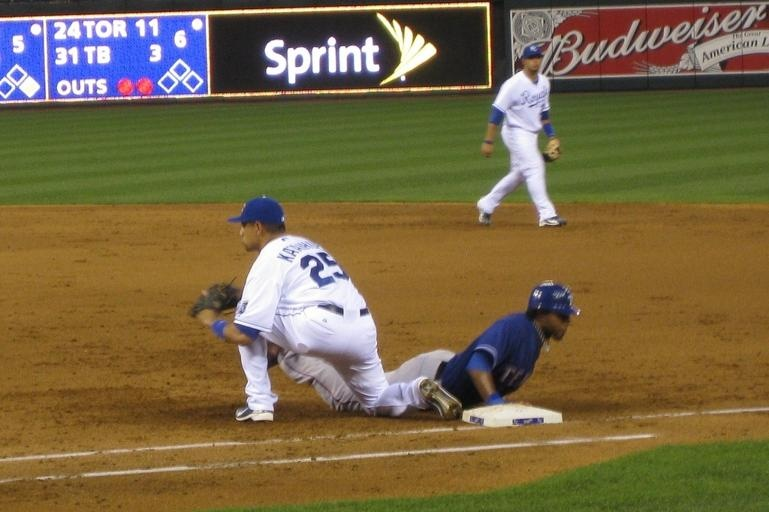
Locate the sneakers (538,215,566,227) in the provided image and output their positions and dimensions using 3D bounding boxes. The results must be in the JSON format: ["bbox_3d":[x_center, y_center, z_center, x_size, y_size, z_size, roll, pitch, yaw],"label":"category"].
[{"bbox_3d":[2.856,-0.584,30.071,0.449,0.202,0.176,-2,7,14],"label":"sneakers"}]

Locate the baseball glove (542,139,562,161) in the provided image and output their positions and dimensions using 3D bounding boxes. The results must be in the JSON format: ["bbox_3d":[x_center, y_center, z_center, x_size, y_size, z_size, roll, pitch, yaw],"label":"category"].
[{"bbox_3d":[2.869,-1.762,30.244,0.298,0.389,0.170,28,0,7],"label":"baseball glove"}]

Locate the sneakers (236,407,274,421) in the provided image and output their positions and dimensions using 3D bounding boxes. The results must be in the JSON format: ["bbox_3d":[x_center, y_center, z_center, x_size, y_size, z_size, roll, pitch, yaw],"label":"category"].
[{"bbox_3d":[-1.909,2.316,26.131,0.446,0.204,0.232,6,6,12],"label":"sneakers"}]

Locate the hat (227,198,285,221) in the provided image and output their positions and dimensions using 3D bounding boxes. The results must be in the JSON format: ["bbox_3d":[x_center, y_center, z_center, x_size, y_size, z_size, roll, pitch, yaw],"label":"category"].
[{"bbox_3d":[-1.792,-0.691,26.118,0.617,0.316,0.372,3,8,4],"label":"hat"}]

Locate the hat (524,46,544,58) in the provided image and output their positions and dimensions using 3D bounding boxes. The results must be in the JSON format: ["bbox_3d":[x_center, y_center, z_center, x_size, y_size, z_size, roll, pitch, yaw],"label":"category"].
[{"bbox_3d":[2.472,-3.365,29.581,0.255,0.231,0.290,-2,9,-3],"label":"hat"}]

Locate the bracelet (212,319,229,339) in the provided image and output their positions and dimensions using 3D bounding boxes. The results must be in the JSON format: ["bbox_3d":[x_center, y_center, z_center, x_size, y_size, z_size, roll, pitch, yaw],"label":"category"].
[{"bbox_3d":[-2.396,1.028,25.847,0.254,0.236,0.249,5,-6,-21],"label":"bracelet"}]

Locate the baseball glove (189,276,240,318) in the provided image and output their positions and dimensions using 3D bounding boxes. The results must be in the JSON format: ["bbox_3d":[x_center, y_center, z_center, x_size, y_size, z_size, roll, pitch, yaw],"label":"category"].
[{"bbox_3d":[-2.429,0.604,26.143,0.421,0.245,0.710,14,37,24],"label":"baseball glove"}]

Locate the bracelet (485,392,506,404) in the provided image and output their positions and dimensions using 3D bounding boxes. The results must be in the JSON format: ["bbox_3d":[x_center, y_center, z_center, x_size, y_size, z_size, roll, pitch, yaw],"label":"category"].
[{"bbox_3d":[1.638,2.047,25.898,0.306,0.171,0.225,-5,10,-22],"label":"bracelet"}]
